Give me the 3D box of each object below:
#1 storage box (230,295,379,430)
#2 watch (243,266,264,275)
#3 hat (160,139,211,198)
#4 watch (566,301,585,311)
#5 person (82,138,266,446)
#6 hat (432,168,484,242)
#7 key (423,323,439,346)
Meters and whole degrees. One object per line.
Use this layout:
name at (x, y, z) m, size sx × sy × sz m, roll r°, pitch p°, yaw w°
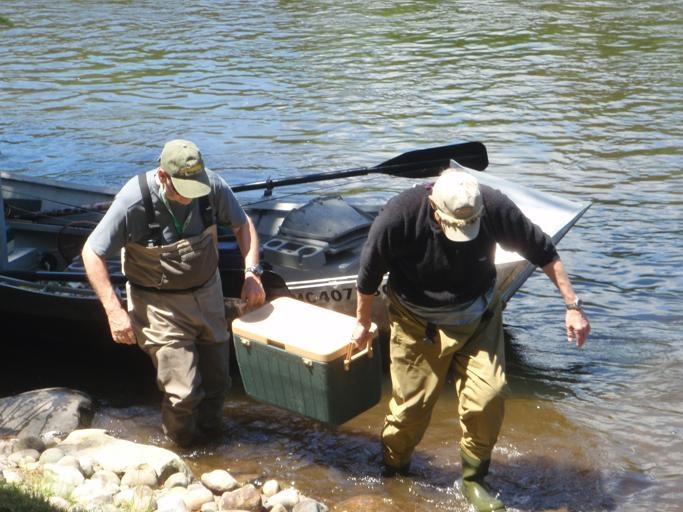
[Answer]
storage box at (-0.267, 0.984, 8.981) m, size 0.824 × 0.668 × 1.285 m, roll -19°, pitch 22°, yaw -39°
watch at (-0.837, 0.132, 9.014) m, size 0.119 × 0.038 × 0.090 m, roll -7°, pitch -11°, yaw 39°
hat at (-1.362, -0.809, 8.562) m, size 0.408 × 0.269 × 0.588 m, roll -16°, pitch 48°, yaw -32°
watch at (1.959, 0.413, 8.178) m, size 0.125 × 0.062 × 0.117 m, roll -7°, pitch -11°, yaw 14°
person at (-1.461, 0.351, 8.914) m, size 1.456 × 2.792 × 0.967 m, roll -19°, pitch 35°, yaw -31°
hat at (0.992, -0.493, 8.077) m, size 0.579 × 0.325 × 0.623 m, roll -2°, pitch 47°, yaw 8°
key at (0.771, 0.657, 8.369) m, size 0.115 × 0.188 × 0.112 m, roll -35°, pitch 49°, yaw -25°
